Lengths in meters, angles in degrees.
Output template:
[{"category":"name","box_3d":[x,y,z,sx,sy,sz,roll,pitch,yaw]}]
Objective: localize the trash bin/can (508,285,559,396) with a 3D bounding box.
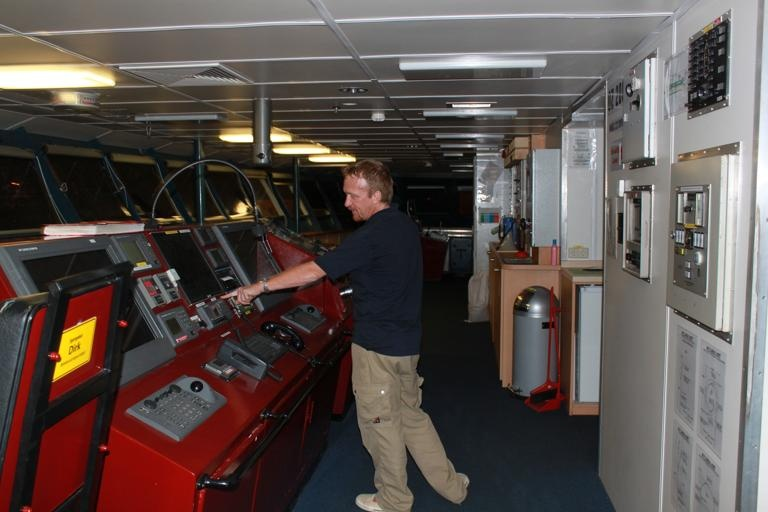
[{"category":"trash bin/can","box_3d":[1.424,0.835,4.709,0.431,1.010,0.369,-1,11,18]}]

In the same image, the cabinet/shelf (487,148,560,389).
[{"category":"cabinet/shelf","box_3d":[1.521,0.177,5.388,0.649,2.014,3.186,1,1,11]}]

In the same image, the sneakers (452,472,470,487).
[{"category":"sneakers","box_3d":[0.547,1.562,3.425,0.099,0.041,0.121,1,-6,4]}]

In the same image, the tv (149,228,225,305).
[{"category":"tv","box_3d":[-1.251,0.085,3.115,0.027,0.596,0.573,-38,-18,17]}]
